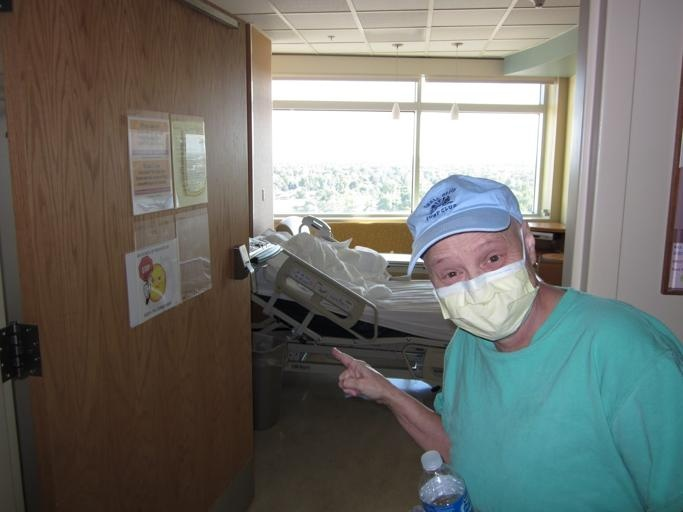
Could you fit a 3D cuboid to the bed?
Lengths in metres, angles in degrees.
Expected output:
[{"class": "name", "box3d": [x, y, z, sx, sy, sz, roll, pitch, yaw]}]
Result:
[{"class": "bed", "box3d": [0.124, 0.310, 4.070, 1.598, 0.781, 1.046, 11, 19, 24]}]

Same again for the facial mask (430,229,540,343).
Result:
[{"class": "facial mask", "box3d": [0.367, 0.067, 1.285, 0.221, 0.170, 0.283, -16, 14, 13]}]

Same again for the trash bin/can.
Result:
[{"class": "trash bin/can", "box3d": [-0.499, 0.896, 3.485, 0.219, 0.678, 0.282, -1, 11, -9]}]
